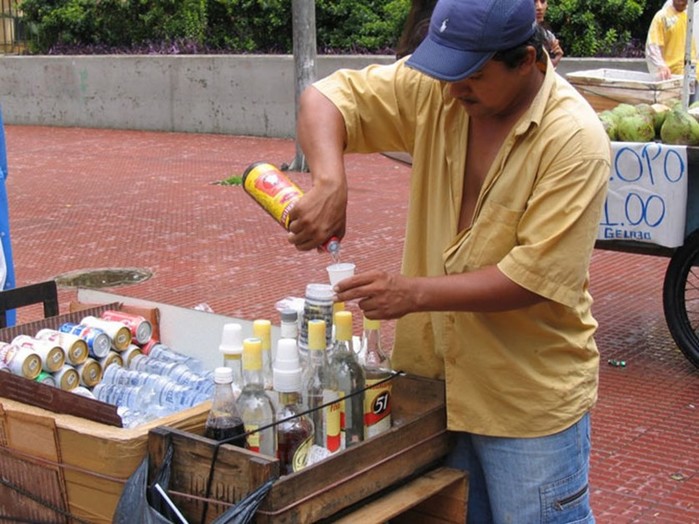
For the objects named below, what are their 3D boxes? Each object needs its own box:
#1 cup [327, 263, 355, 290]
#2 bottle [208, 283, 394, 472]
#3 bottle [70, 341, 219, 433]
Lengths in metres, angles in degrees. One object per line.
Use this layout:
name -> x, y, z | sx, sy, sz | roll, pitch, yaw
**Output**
cup -> -0.027, 0.046, 2.047 | 0.071, 0.053, 0.071 | -4, 5, 0
bottle -> -0.137, 0.376, 2.105 | 0.382, 0.755, 0.406 | -2, 19, 1
bottle -> -0.731, 0.474, 2.615 | 0.457, 0.122, 0.712 | -9, 16, -33
